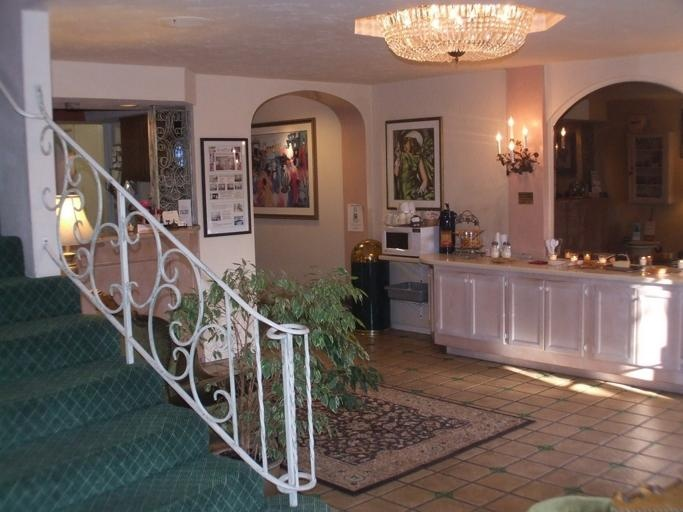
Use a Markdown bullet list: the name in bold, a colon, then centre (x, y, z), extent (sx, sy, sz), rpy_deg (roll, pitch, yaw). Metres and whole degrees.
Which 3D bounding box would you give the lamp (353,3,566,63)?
- **lamp**: centre (1.036, -2.092, 4.615), extent (1.914, 0.491, 0.955), rpy_deg (-1, 7, 5)

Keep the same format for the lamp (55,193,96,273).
- **lamp**: centre (-2.636, -0.298, 4.988), extent (0.368, 0.594, 0.358), rpy_deg (7, -24, -41)

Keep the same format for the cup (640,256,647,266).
- **cup**: centre (3.518, 0.055, 5.960), extent (0.086, 0.098, 0.089), rpy_deg (-2, 6, 0)

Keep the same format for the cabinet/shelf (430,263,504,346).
- **cabinet/shelf**: centre (1.884, 0.473, 7.225), extent (0.830, 1.177, 1.202), rpy_deg (-2, 3, -43)

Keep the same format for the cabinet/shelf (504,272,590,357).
- **cabinet/shelf**: centre (2.548, 0.688, 6.276), extent (1.007, 0.919, 0.434), rpy_deg (3, 4, 43)

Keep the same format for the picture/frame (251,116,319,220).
- **picture/frame**: centre (-1.012, -1.655, 9.405), extent (1.958, 2.108, 0.088), rpy_deg (1, 3, 41)

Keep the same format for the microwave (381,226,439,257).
- **microwave**: centre (1.105, -0.351, 7.771), extent (0.488, 0.418, 0.625), rpy_deg (-3, 6, -42)
